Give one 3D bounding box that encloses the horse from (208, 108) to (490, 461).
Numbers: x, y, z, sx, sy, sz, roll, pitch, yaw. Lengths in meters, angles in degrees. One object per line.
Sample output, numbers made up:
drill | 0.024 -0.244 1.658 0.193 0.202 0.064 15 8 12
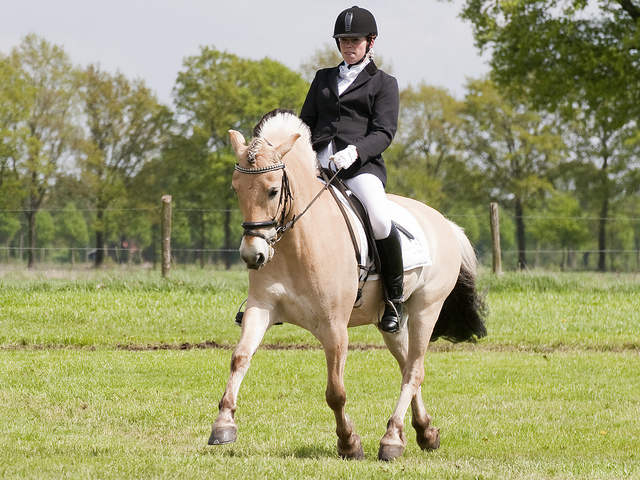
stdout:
horse | 0.389 0.769 23.576 5.114 6.193 2.299 -3 15 -13
